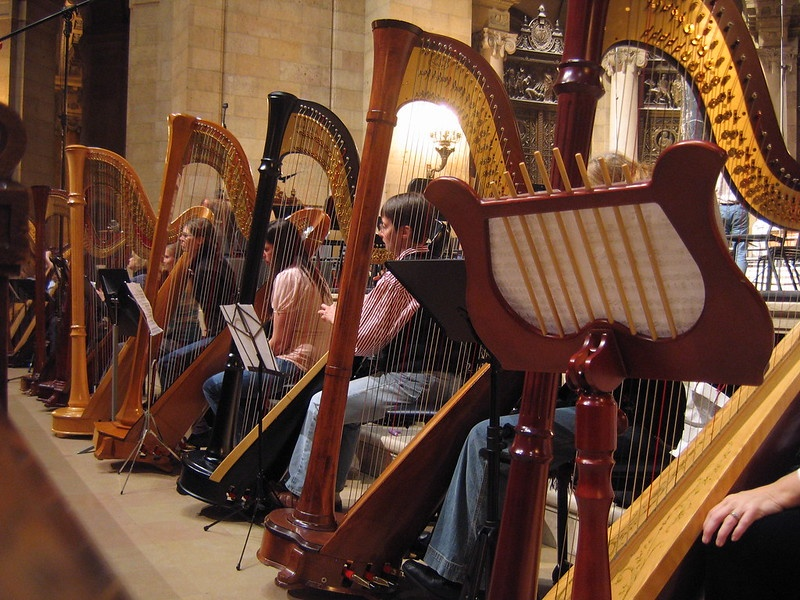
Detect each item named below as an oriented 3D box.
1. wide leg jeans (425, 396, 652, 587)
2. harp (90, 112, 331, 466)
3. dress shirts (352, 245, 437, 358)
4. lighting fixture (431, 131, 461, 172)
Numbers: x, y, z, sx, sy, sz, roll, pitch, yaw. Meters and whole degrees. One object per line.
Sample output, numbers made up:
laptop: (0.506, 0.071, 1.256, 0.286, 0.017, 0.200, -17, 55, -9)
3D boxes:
wide leg jeans: (0.469, 0.663, 3.139, 0.714, 0.871, 0.589, 3, -2, -8)
harp: (-1.245, -0.003, 4.495, 0.973, 1.892, 0.525, 21, 8, -11)
dress shirts: (-0.060, 0.046, 3.511, 0.120, 0.440, 0.324, 24, -19, 23)
lighting fixture: (0.524, -1.705, 9.638, 0.316, 0.582, 0.363, 4, -11, 1)
